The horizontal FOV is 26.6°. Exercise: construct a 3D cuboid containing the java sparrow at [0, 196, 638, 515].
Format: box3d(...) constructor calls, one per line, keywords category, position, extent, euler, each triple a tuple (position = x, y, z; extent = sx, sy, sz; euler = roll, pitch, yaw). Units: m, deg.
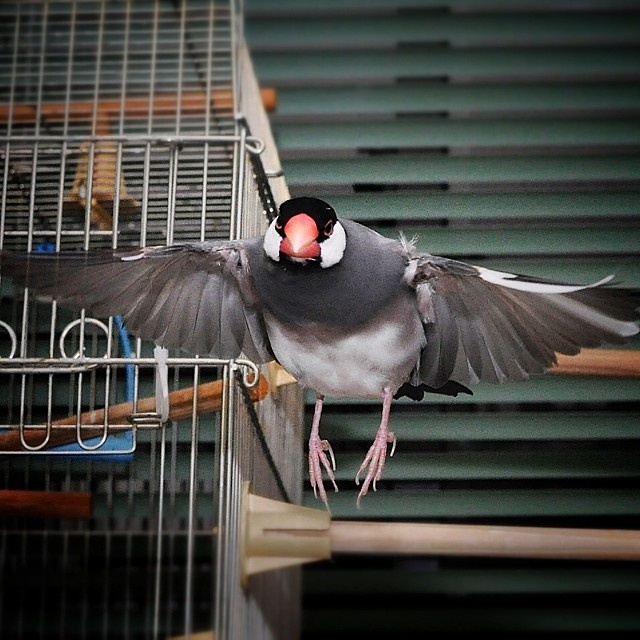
box3d(category="java sparrow", position=(0.011, 0.037, 2.376), extent=(1.070, 0.523, 0.278), euler=(2, 11, 7))
